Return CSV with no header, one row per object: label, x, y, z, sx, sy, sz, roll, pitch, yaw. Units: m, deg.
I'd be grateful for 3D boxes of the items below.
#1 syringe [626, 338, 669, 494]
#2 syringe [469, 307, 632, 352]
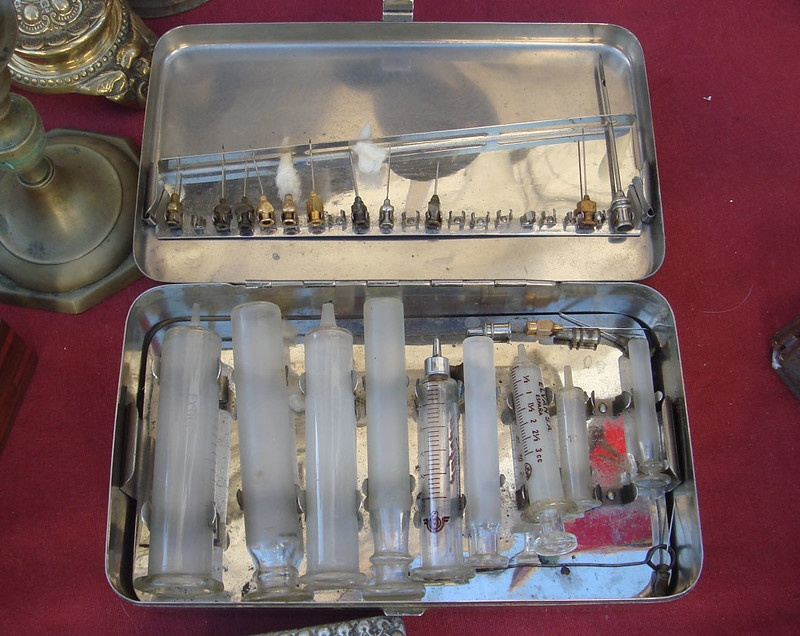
syringe,0.825,0.317,3.476,0.123,0.117,0.511,1,82,-34
syringe,0.526,0.048,3.594,0.500,0.111,0.141,-1,98,2
